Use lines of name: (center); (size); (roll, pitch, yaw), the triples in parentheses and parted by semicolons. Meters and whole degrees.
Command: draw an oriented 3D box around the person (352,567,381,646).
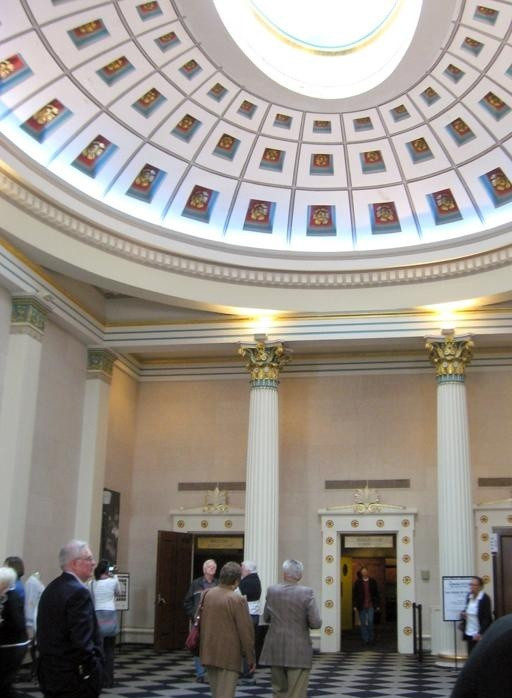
person: (2.618, 6.089, 13.359); (0.596, 1.680, 0.913); (-2, -19, 10)

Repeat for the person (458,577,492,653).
person: (2.860, 3.435, 7.296); (0.369, 0.873, 1.014); (-4, -19, 16)
